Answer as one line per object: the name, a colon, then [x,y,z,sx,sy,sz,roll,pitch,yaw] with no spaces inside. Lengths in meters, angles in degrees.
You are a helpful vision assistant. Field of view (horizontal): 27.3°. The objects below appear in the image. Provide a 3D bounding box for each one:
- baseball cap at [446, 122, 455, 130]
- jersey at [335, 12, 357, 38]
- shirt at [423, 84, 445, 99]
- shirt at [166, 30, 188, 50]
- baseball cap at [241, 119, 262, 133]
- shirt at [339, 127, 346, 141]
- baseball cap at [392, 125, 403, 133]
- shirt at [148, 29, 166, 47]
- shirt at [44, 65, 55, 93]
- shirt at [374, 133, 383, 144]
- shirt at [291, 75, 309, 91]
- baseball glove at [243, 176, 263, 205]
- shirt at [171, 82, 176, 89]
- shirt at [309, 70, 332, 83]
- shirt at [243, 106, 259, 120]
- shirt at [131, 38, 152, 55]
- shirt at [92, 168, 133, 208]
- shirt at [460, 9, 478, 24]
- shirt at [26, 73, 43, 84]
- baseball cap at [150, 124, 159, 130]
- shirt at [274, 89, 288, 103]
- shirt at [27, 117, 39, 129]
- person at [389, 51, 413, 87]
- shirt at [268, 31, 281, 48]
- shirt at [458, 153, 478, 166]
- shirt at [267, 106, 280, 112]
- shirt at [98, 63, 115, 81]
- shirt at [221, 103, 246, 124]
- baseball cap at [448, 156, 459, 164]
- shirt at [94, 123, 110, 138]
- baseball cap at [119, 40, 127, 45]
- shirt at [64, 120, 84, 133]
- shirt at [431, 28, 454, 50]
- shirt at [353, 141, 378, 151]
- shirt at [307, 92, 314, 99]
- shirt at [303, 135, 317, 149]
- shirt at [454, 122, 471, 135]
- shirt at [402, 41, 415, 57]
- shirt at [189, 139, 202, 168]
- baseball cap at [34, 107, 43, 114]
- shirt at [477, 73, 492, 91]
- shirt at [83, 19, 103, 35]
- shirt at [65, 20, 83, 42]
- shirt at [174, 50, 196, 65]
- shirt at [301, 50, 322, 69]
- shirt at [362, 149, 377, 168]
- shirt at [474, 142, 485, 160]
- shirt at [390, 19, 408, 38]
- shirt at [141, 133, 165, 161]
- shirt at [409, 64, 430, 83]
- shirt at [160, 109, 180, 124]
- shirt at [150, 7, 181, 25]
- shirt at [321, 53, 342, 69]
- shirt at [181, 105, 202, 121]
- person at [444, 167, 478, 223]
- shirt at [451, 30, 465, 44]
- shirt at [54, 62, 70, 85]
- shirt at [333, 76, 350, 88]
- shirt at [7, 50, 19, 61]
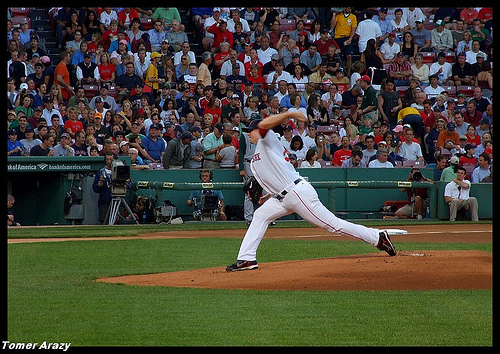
baseball cap: [5.253,-1.331,26.671,0.194,0.141,0.269,-2,5,0]
jersey: [2.930,-4.610,31.196,0.745,0.879,0.468,4,0,-3]
shirt: [5.311,-2.400,29.354,0.690,0.553,0.385,-1,-2,0]
shirt: [-2.140,-3.943,29.596,0.679,0.662,0.355,-2,-1,-17]
baseball cap: [0.033,-0.910,18.003,0.313,0.164,0.185,4,2,-5]
shirt: [2.479,-1.213,27.369,0.168,0.219,0.407,-1,13,0]
baseball cap: [3.955,-1.284,27.198,0.223,0.186,0.418,0,13,3]
shirt: [-2.752,-4.034,29.928,0.699,0.661,0.384,0,-5,-12]
shirt: [-5.527,-2.686,28.112,0.274,0.658,0.852,-3,13,-8]
shirt: [3.364,-0.993,26.987,0.313,0.315,0.177,1,0,1]
shirt: [1.442,-2.670,28.942,0.519,0.386,0.639,-4,13,-13]
baseball glove: [0.055,0.242,19.496,0.285,0.523,0.397,10,-3,-13]
shirt: [-2.130,-2.533,28.307,0.199,0.265,0.144,-1,-16,-4]
shirt: [1.870,-2.815,28.983,0.519,0.262,0.298,-5,14,-1]
shirt: [-0.046,-1.744,27.101,0.330,0.215,0.552,14,-11,19]
shirt: [-3.146,-3.721,29.373,0.350,0.442,0.477,0,-2,-2]
shirt: [-3.322,0.227,24.019,0.705,0.943,0.569,1,4,-29]
shirt: [6.990,-5.071,32.514,0.462,0.614,0.346,4,-24,3]
shirt: [-5.890,-2.705,27.847,0.442,0.215,0.341,4,14,21]
baseball cap: [-2.382,-1.238,25.377,0.172,0.159,0.405,-1,13,1]
shirt: [0.863,-2.192,27.846,0.533,0.192,0.650,-3,26,0]
shirt: [-5.481,-1.359,25.691,0.245,0.278,0.176,-6,13,-22]
person: [4.400,-3.136,30.039,0.754,1.060,0.636,-2,14,-15]
shirt: [0.729,-4.080,30.389,0.342,0.452,0.486,1,13,11]
shirt: [5.619,-0.419,26.371,0.583,0.502,0.305,0,-5,-6]
shirt: [0.647,-1.819,27.398,0.303,0.137,0.455,-1,13,1]
shirt: [-4.020,-2.907,28.404,0.362,0.349,0.207,-28,-6,38]
shirt: [-0.547,-1.699,26.874,0.454,0.427,0.373,2,13,13]
baseball cap: [5.103,-0.436,25.402,0.201,0.200,0.317,1,13,8]
shirt: [-3.712,-1.165,25.492,0.387,0.335,0.392,-3,13,-9]
baseball cap: [-3.594,-3.768,28.681,0.193,0.095,0.281,0,3,5]
shirt: [-4.442,-1.289,25.718,0.546,0.296,0.367,-7,14,-26]
shirt: [5.988,-4.204,31.732,0.703,0.689,0.410,-5,-14,25]
shirt: [3.014,-0.800,26.557,0.605,0.180,0.703,0,13,3]
shirt: [1.675,-2.247,28.208,0.218,0.165,0.214,-1,-5,-4]
shirt: [1.500,-0.913,26.383,0.421,0.442,0.238,-3,-5,-18]
shirt: [5.695,-1.294,27.355,0.510,0.496,0.270,0,5,-2]
shirt: [4.780,-3.878,30.938,0.462,0.612,0.337,1,5,7]
shirt: [-1.383,-0.582,25.356,0.393,0.697,0.694,0,2,10]
baseball cap: [-5.351,-1.693,25.760,0.171,0.124,0.172,0,-4,-1]
shirt: [6.893,-2.807,30.081,0.470,0.622,0.336,5,9,20]
shirt: [-4.604,-4.372,29.785,0.537,0.418,0.426,-4,13,-12]
shirt: [-5.160,-4.264,29.842,0.509,0.584,0.504,-6,13,-21]
shirt: [-1.873,-3.408,29.189,0.699,0.559,0.377,-1,0,-7]
shirt: [1.780,-3.400,30.013,0.826,0.679,0.470,-1,3,-4]
shirt: [3.038,-0.471,25.970,0.434,0.414,0.174,-1,-15,1]
shirt: [6.065,-0.726,26.887,0.250,0.385,0.395,1,13,11]
shirt: [4.620,-4.591,31.669,0.515,0.490,0.900,1,13,8]
shirt: [-2.330,-0.754,25.692,0.664,0.741,0.410,-4,0,31]
shirt: [5.085,-3.059,30.407,0.589,0.746,0.505,0,-1,17]
shirt: [-2.110,-1.630,26.767,0.462,0.438,0.251,2,-20,-10]
shirt: [-2.546,-4.816,30.628,0.899,0.449,0.582,-5,13,-16]
shirt: [2.371,-3.415,30.092,0.611,0.227,0.616,1,-3,-1]
shirt: [-1.537,-1.757,27.035,0.612,0.328,0.567,-4,13,-15]
person: [5.191,0.385,25.023,0.804,1.365,0.462,-1,12,1]
shirt: [6.481,-4.385,32.039,0.528,0.534,0.287,1,-11,3]
shirt: [-5.256,-2.949,28.367,0.436,0.766,0.807,0,8,1]
shirt: [2.618,-2.747,29.374,0.466,0.312,0.484,-1,13,2]
shirt: [-6.552,-3.350,28.185,0.294,0.234,0.523,-4,13,-14]
